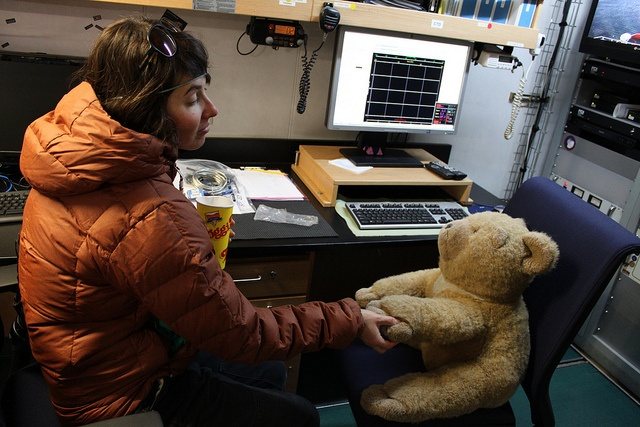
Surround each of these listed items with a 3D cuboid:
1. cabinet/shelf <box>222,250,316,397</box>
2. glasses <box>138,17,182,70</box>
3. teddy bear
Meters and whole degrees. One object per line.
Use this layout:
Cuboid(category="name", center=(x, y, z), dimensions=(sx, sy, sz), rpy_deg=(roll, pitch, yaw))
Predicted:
Cuboid(category="cabinet/shelf", center=(-0.197, 0.374, 1.863), dimensions=(0.253, 0.501, 0.280), rpy_deg=(-2, 20, -8))
Cuboid(category="glasses", center=(-0.447, -0.502, 1.307), dimensions=(0.046, 0.142, 0.144), rpy_deg=(33, 32, -8))
Cuboid(category="teddy bear", center=(0.439, 0.280, 1.935), dimensions=(0.721, 0.848, 0.715), rpy_deg=(6, 4, 3))
